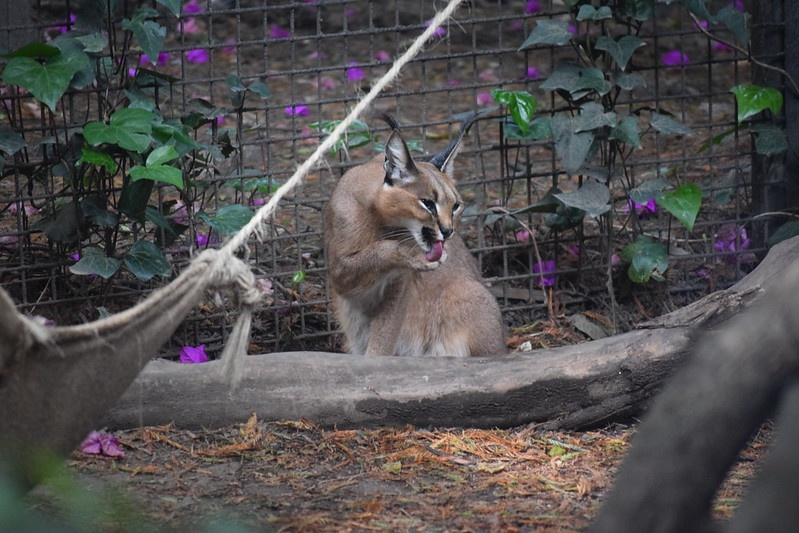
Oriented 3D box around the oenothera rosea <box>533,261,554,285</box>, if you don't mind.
[{"bbox_3d":[1.193,0.064,8.410,0.141,0.132,0.143,-6,48,-13],"label":"oenothera rosea"}]
